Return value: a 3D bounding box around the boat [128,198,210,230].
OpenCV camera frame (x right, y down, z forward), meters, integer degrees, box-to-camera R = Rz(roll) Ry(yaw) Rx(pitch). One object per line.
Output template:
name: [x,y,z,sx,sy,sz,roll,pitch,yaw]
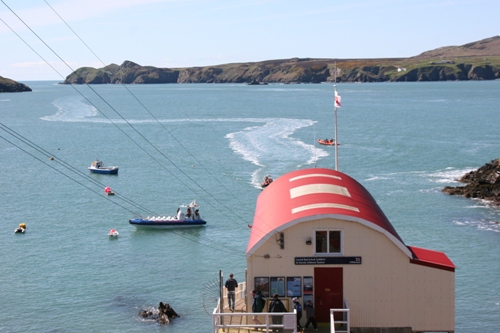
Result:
boat: [-16.682,9.379,139.471,18.111,4.583,4.729,-2,7,-6]
